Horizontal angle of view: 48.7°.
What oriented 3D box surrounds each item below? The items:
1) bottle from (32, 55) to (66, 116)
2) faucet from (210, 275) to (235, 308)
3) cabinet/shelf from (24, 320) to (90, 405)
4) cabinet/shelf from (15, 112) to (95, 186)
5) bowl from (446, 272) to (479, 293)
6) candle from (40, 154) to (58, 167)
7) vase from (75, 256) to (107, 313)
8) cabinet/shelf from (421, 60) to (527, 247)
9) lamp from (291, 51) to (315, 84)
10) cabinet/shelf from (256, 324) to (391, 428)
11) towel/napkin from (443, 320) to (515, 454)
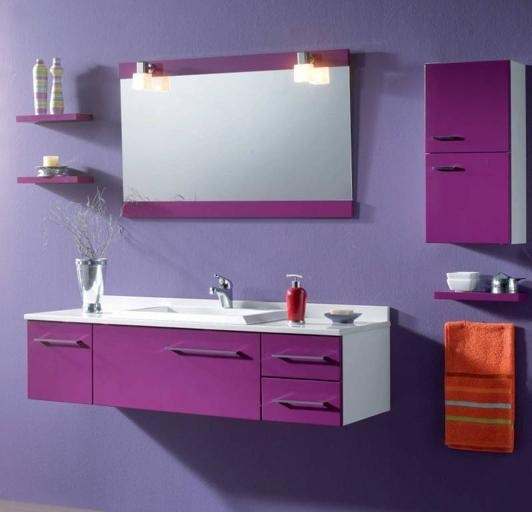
[{"bbox_3d":[-1.198,-0.931,3.250,0.169,0.339,0.361,-3,7,-22],"label":"bottle"},{"bbox_3d":[-0.224,0.173,2.944,0.120,0.168,0.190,-1,7,-5],"label":"faucet"},{"bbox_3d":[-0.968,0.489,2.800,0.334,0.384,0.380,-1,-5,12],"label":"cabinet/shelf"},{"bbox_3d":[-1.189,-0.584,3.240,0.457,0.395,0.201,2,7,19],"label":"cabinet/shelf"},{"bbox_3d":[0.814,0.120,2.424,0.078,0.070,0.104,-1,-7,22],"label":"bowl"},{"bbox_3d":[-1.190,-0.508,3.227,0.085,0.069,0.087,1,2,41],"label":"candle"},{"bbox_3d":[-0.867,0.151,2.941,0.139,0.272,0.112,-3,7,-20],"label":"vase"},{"bbox_3d":[0.871,-0.401,2.322,0.440,0.737,0.244,-1,7,-5],"label":"cabinet/shelf"},{"bbox_3d":[0.172,-0.871,2.714,0.098,0.141,0.088,0,7,7],"label":"lamp"},{"bbox_3d":[0.242,0.466,2.512,0.344,0.387,0.500,-1,-2,34],"label":"cabinet/shelf"},{"bbox_3d":[0.898,0.558,2.489,0.278,0.548,0.067,2,7,20],"label":"towel/napkin"}]
